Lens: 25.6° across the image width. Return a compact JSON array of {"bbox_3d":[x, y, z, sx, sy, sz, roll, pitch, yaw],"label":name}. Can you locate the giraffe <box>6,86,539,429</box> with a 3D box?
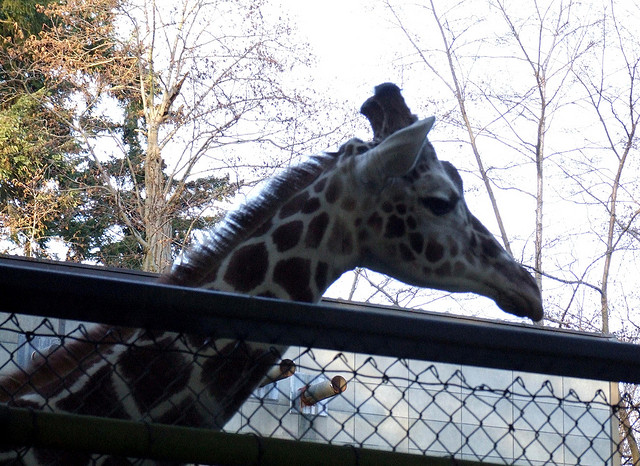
[{"bbox_3d":[-0.633,1.155,26.239,10.161,6.625,4.184,-5,-8,-10],"label":"giraffe"}]
